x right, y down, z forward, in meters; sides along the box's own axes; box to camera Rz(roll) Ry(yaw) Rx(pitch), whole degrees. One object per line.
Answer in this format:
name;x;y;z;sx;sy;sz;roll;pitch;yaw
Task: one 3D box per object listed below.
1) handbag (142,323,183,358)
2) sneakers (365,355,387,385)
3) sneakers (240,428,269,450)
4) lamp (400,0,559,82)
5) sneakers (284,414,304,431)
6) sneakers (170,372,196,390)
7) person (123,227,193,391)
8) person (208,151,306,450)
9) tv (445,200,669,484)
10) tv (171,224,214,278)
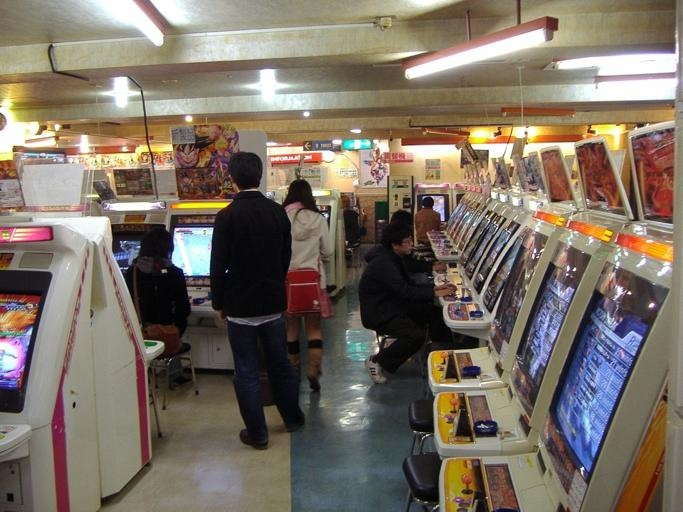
handbag;-1.504;0.728;4.180;0.383;0.310;0.247;1;1;-5
sneakers;0.338;1.138;4.764;0.159;0.338;0.123;-21;28;8
sneakers;-0.676;1.371;3.722;0.101;0.107;0.276;-7;16;-34
lamp;1.440;-2.302;5.154;0.204;0.371;1.463;12;-7;-35
sneakers;-0.378;1.342;3.942;0.073;0.080;0.203;2;8;16
sneakers;-1.623;1.255;4.920;0.269;0.162;0.105;-8;11;-40
person;-1.609;0.330;4.302;0.494;1.128;0.499;-6;11;-26
person;-0.626;0.350;3.566;0.609;2.180;0.375;-2;10;-6
tv;0.668;0.338;1.776;0.623;0.901;1.014;1;9;10
tv;-1.497;-0.042;4.869;0.612;0.481;0.136;2;-2;15
